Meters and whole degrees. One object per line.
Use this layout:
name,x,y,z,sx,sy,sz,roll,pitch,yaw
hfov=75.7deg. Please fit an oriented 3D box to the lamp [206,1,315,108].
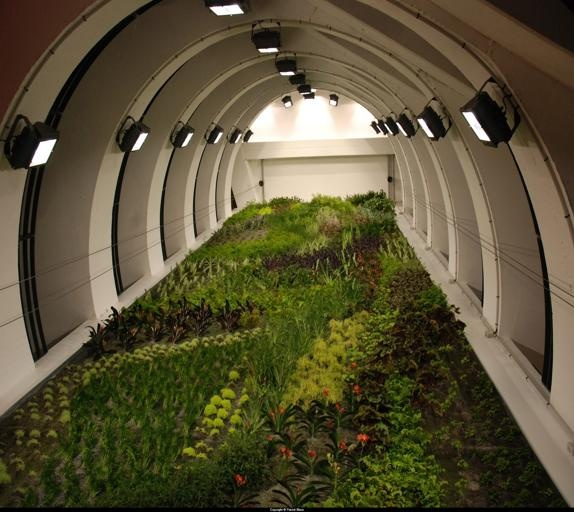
lamp,-0.695,-4.476,8.264,1.439,0.863,3.213,7,-31,17
